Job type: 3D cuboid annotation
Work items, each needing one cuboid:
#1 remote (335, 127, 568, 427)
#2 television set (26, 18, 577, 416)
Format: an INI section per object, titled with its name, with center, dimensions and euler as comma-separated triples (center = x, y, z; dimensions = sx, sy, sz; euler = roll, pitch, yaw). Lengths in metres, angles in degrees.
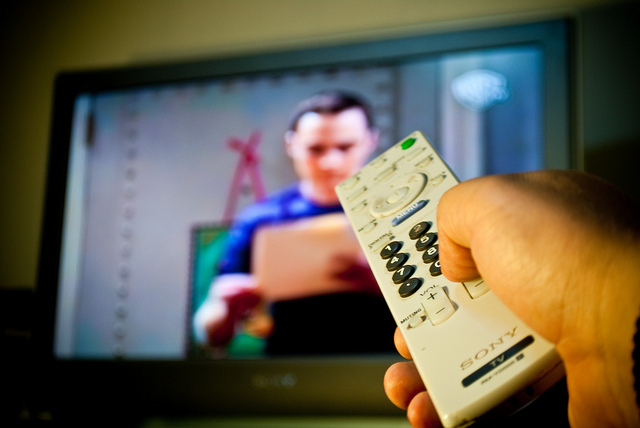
[remote]
center = 0.149, 0.062, 0.689
dimensions = 0.166, 0.364, 0.091
euler = -31, -32, 17
[television set]
center = -0.014, 0.017, 0.695
dimensions = 0.534, 0.364, 0.055
euler = -2, -9, 14
